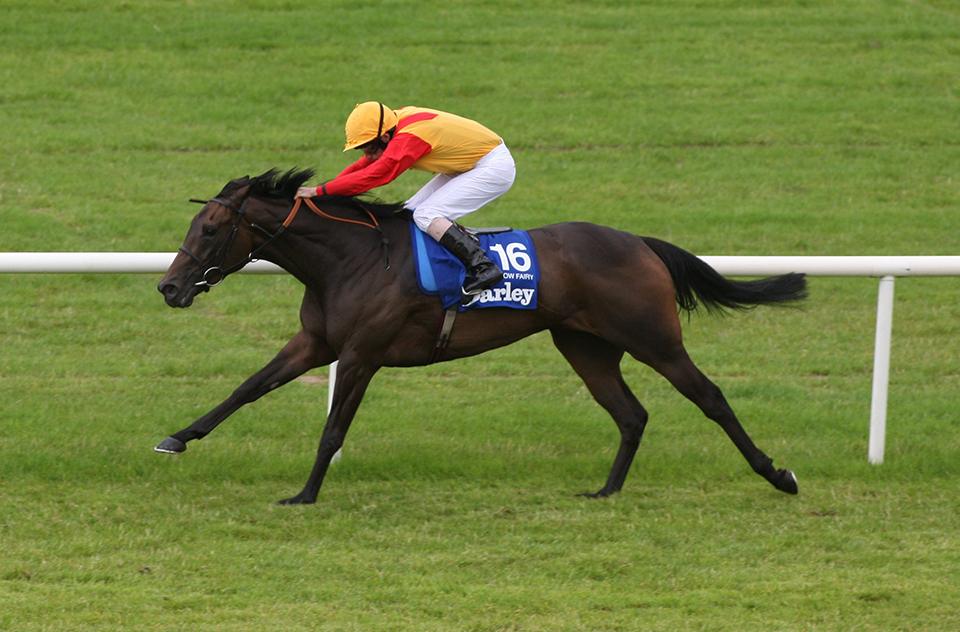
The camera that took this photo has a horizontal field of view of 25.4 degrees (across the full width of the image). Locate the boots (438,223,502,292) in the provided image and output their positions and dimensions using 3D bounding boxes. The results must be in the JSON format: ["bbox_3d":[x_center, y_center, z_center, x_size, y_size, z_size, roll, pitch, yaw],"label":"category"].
[{"bbox_3d":[-0.103,-0.400,13.981,0.238,0.351,0.467,14,22,38],"label":"boots"}]
